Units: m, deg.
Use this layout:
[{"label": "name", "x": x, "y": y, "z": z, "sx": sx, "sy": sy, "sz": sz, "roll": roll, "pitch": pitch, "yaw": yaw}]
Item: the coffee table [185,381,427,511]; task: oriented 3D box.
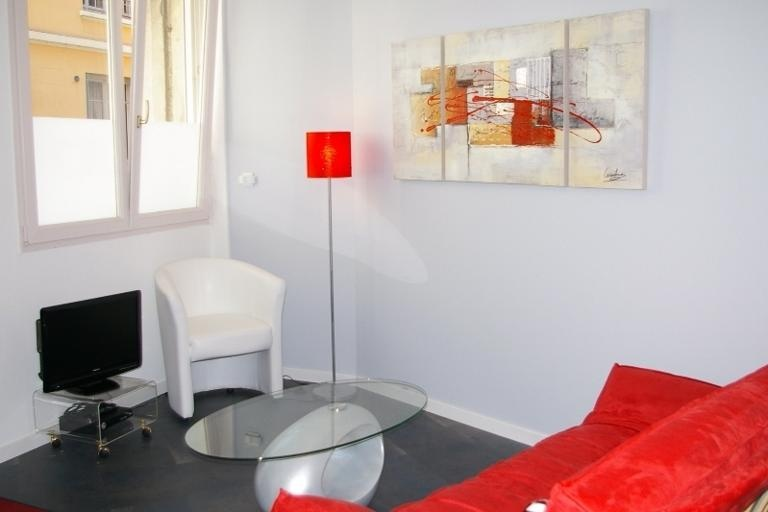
[{"label": "coffee table", "x": -0.439, "y": 0.973, "z": 3.240, "sx": 0.708, "sy": 0.412, "sz": 1.108, "roll": 4, "pitch": 7, "yaw": 42}]

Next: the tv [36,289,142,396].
[{"label": "tv", "x": -2.064, "y": 0.605, "z": 3.997, "sx": 0.286, "sy": 0.616, "sz": 0.780, "roll": -2, "pitch": 2, "yaw": 40}]

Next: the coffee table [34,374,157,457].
[{"label": "coffee table", "x": -1.976, "y": 1.097, "z": 4.064, "sx": 0.572, "sy": 0.326, "sz": 0.563, "roll": 1, "pitch": 1, "yaw": 30}]

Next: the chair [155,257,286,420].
[{"label": "chair", "x": -1.358, "y": 0.608, "z": 4.609, "sx": 1.041, "sy": 0.997, "sz": 0.892, "roll": -2, "pitch": 10, "yaw": -39}]
